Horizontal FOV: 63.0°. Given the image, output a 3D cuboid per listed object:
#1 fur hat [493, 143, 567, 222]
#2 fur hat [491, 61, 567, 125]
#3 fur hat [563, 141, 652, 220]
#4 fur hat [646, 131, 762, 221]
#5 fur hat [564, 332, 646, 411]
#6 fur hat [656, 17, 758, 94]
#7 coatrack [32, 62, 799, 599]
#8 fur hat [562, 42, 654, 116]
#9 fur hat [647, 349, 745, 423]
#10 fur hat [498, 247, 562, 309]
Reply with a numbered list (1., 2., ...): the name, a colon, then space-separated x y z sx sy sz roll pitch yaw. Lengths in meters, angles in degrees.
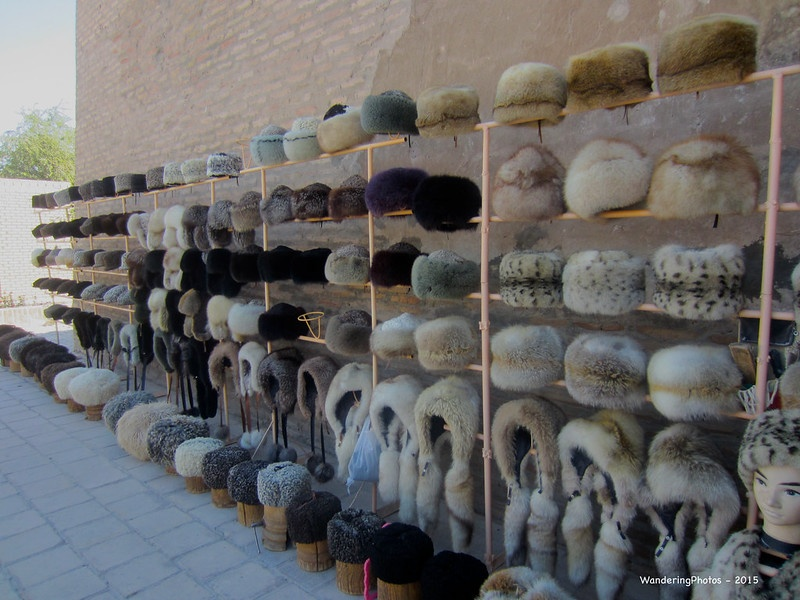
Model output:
1. fur hat: 0.724 -0.677 3.724 0.463 0.382 0.427 2 16 27
2. fur hat: 0.695 -1.090 3.478 0.357 0.286 0.279 3 21 21
3. fur hat: 1.095 -0.640 3.441 0.443 0.434 0.155 1 1 18
4. fur hat: 1.524 -0.661 3.232 0.436 0.293 0.445 -15 16 -31
5. fur hat: 1.113 0.396 3.536 0.434 0.405 0.244 1 1 22
6. fur hat: 1.503 -1.177 3.204 0.396 0.187 0.326 -19 -36 9
7. coatrack: 0.127 0.262 4.166 3.794 1.356 3.850 1 0 28
8. fur hat: 1.095 -1.159 3.487 0.481 0.321 0.345 -7 5 18
9. fur hat: 1.508 0.404 3.310 0.399 0.232 0.308 -1 24 36
10. fur hat: 0.756 -0.110 3.802 0.401 0.357 0.429 0 9 3
